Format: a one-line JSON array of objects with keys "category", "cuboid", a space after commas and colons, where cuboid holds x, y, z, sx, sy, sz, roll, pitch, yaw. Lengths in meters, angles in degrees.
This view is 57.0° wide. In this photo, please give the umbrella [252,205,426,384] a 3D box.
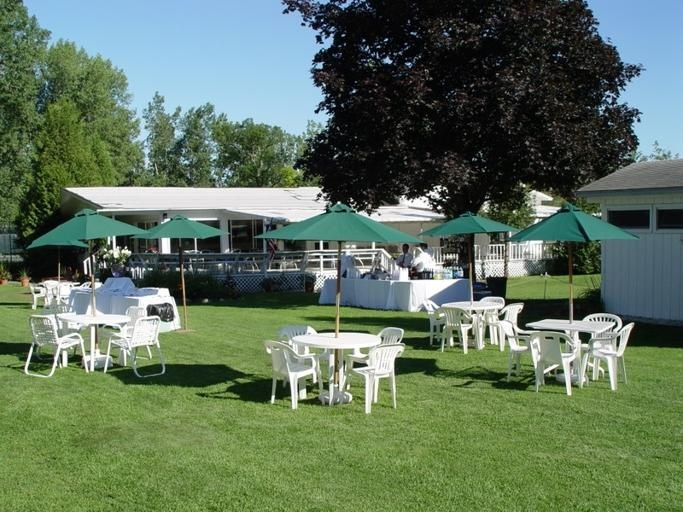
[{"category": "umbrella", "cuboid": [-0.063, 0.322, 10.631, 1.872, 2.203, 1.958, -1, 7, -23]}]

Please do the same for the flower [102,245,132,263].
[{"category": "flower", "cuboid": [-9.978, -0.043, 28.045, 1.009, 0.734, 1.076, 3, 1, -3]}]

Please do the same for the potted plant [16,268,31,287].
[{"category": "potted plant", "cuboid": [-16.136, 1.085, 32.028, 0.690, 1.108, 0.839, -1, -3, -14]}]

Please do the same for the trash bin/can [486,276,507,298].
[{"category": "trash bin/can", "cuboid": [4.931, 0.993, 20.167, 0.538, 0.678, 0.598, 0, -3, -7]}]

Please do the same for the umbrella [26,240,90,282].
[{"category": "umbrella", "cuboid": [-6.890, 0.057, 15.380, 1.059, 1.091, 1.059, -1, 5, -38]}]

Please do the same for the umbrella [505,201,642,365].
[{"category": "umbrella", "cuboid": [4.355, 0.134, 12.006, 2.157, 2.589, 2.231, 1, 6, 37]}]

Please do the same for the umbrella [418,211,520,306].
[{"category": "umbrella", "cuboid": [3.276, 0.248, 16.023, 2.402, 2.791, 2.625, -4, 1, -16]}]
